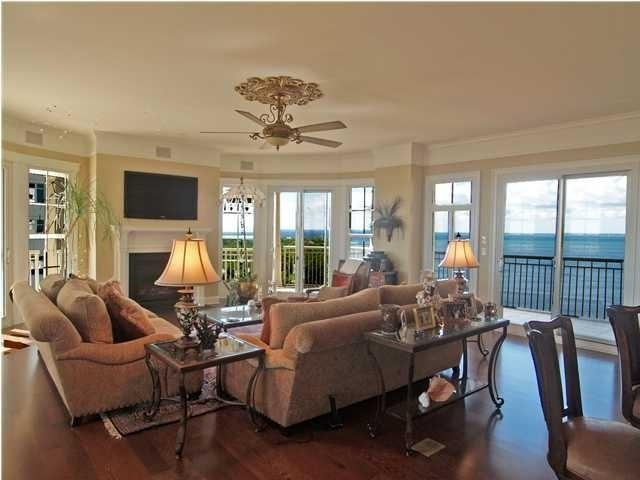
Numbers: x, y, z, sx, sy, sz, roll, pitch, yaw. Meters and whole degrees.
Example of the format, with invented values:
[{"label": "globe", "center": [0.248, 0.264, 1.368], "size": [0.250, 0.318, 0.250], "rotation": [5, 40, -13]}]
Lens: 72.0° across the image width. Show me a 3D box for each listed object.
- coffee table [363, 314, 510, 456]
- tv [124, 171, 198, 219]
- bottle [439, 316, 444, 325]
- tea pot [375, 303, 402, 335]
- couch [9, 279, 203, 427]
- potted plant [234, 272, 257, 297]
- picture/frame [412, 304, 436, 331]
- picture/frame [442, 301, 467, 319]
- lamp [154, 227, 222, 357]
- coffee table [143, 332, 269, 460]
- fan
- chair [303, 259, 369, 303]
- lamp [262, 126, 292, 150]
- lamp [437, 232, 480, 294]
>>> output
[{"label": "coffee table", "center": [1.109, 1.211, 4.010], "size": [1.500, 0.838, 0.556], "rotation": [-1, 2, -39]}, {"label": "tv", "center": [-2.709, -0.769, 7.557], "size": [1.419, 0.850, 0.117], "rotation": [1, 4, 10]}, {"label": "bottle", "center": [1.127, 0.743, 4.069], "size": [0.060, 0.066, 0.076], "rotation": [0, -7, 7]}, {"label": "tea pot", "center": [0.594, 0.652, 3.738], "size": [0.227, 0.255, 0.210], "rotation": [1, -7, 0]}, {"label": "couch", "center": [-2.385, 0.901, 4.704], "size": [1.398, 0.937, 2.409], "rotation": [3, 3, -40]}, {"label": "potted plant", "center": [-0.953, 0.590, 5.806], "size": [0.313, 0.337, 0.298], "rotation": [1, -5, -8]}, {"label": "picture/frame", "center": [0.929, 0.694, 3.920], "size": [0.208, 0.166, 0.015], "rotation": [-1, -12, -41]}, {"label": "picture/frame", "center": [1.258, 0.650, 4.158], "size": [0.280, 0.189, 0.149], "rotation": [2, 3, -21]}, {"label": "lamp", "center": [-1.108, 0.422, 3.602], "size": [0.681, 0.979, 0.684], "rotation": [-1, -4, 23]}, {"label": "coffee table", "center": [-0.963, 1.110, 3.708], "size": [0.920, 0.687, 0.939], "rotation": [1, 4, -41]}, {"label": "fan", "center": [-0.443, -1.330, 4.937], "size": [1.483, 0.663, 1.449], "rotation": [0, 1, -32]}, {"label": "chair", "center": [0.206, 0.806, 6.508], "size": [0.784, 1.020, 0.668], "rotation": [5, -1, -21]}, {"label": "lamp", "center": [-0.472, -1.101, 4.757], "size": [0.270, 0.171, 0.244], "rotation": [-3, 12, -17]}, {"label": "lamp", "center": [1.485, 0.258, 4.667], "size": [0.402, 0.581, 0.390], "rotation": [-5, 3, -17]}]
